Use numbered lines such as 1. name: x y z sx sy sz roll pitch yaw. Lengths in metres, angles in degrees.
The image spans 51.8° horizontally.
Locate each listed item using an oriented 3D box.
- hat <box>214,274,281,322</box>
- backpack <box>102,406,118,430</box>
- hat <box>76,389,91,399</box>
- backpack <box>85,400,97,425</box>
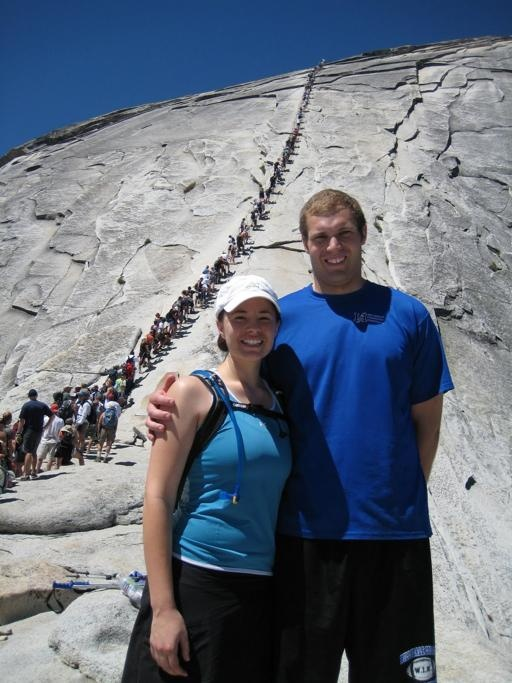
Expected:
1. hat: -0.065 -0.201 2.220 0.253 0.168 0.384 5 -8 -12
2. backpack: -2.906 1.521 10.460 0.297 0.454 0.270 -1 -5 -22
3. hat: -3.590 1.099 10.946 0.209 0.196 0.329 -1 -6 -22
4. backpack: -3.471 1.556 11.164 0.183 0.464 0.622 -2 -5 -13
